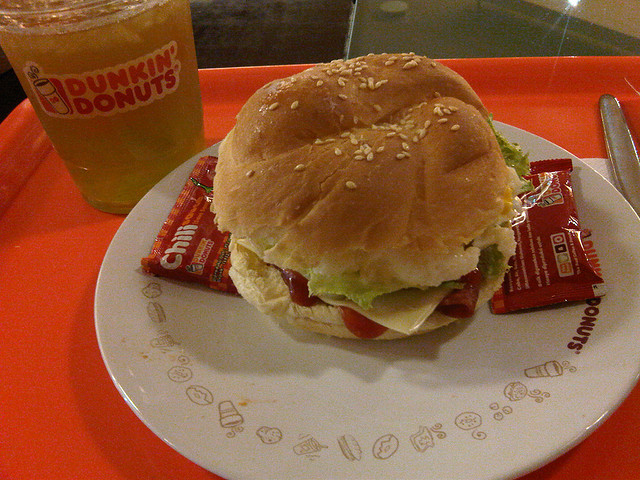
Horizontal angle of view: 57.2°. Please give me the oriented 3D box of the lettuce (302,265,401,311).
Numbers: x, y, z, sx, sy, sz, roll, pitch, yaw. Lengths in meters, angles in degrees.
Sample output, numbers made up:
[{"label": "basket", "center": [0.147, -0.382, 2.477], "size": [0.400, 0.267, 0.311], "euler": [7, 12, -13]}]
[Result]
[{"label": "lettuce", "center": [0.104, 0.162, 1.900], "size": [0.282, 0.054, 0.083], "euler": [11, 57, 2]}]
